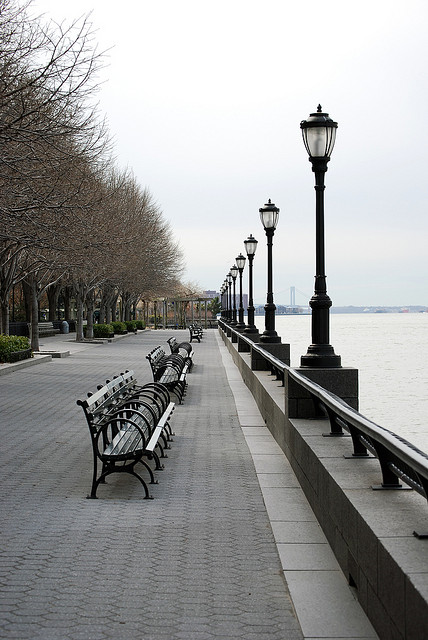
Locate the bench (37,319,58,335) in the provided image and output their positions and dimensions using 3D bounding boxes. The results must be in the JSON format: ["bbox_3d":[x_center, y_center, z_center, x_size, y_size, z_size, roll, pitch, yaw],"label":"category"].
[{"bbox_3d":[-12.679,0.559,46.533,0.444,0.671,2.246,-13,-6,-1],"label":"bench"}]
